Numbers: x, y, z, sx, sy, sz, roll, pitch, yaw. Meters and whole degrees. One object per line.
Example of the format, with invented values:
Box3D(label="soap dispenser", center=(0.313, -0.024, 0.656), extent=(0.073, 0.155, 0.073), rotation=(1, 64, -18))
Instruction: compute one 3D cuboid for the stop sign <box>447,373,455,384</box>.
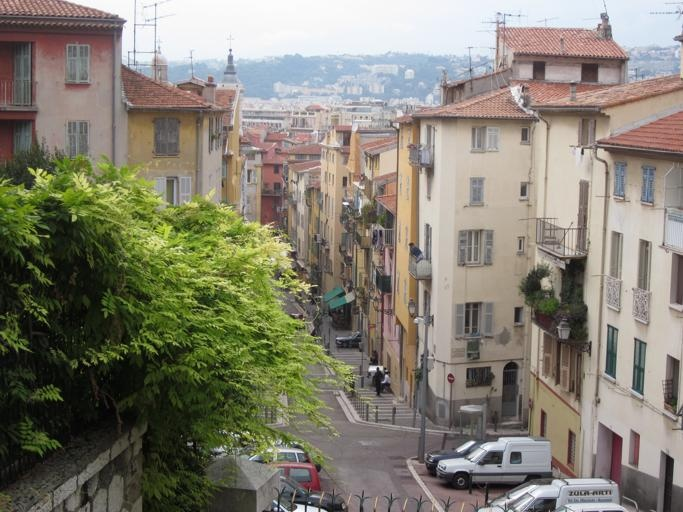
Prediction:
Box3D(label="stop sign", center=(5.594, 6.308, 51.953), extent=(0.539, 0.816, 0.116), rotation=(0, 1, -11))
